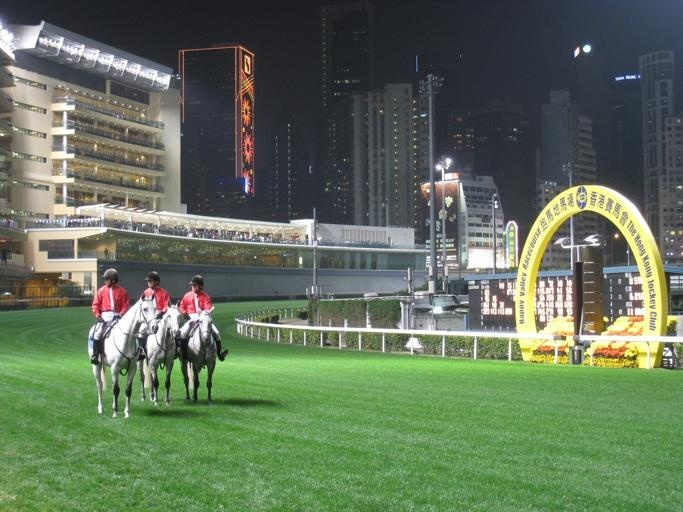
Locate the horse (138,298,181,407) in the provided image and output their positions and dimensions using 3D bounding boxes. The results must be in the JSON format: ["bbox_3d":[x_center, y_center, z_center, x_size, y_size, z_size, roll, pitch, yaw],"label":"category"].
[{"bbox_3d":[-3.359,1.892,16.411,0.577,1.749,2.417,8,-3,-11],"label":"horse"}]

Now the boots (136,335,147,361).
[{"bbox_3d":[-3.641,1.652,15.682,0.225,0.487,0.329,3,7,-7],"label":"boots"}]

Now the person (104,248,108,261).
[{"bbox_3d":[-16.226,-0.151,59.238,0.360,0.729,0.773,-3,3,-15],"label":"person"}]

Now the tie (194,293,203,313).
[{"bbox_3d":[-2.776,0.920,16.639,0.105,0.312,0.213,-12,6,-29],"label":"tie"}]

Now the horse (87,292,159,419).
[{"bbox_3d":[-3.955,1.798,15.373,0.702,2.094,1.713,-4,3,-40],"label":"horse"}]

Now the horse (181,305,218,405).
[{"bbox_3d":[-2.722,2.011,16.804,0.540,1.632,2.320,3,-13,-15],"label":"horse"}]
